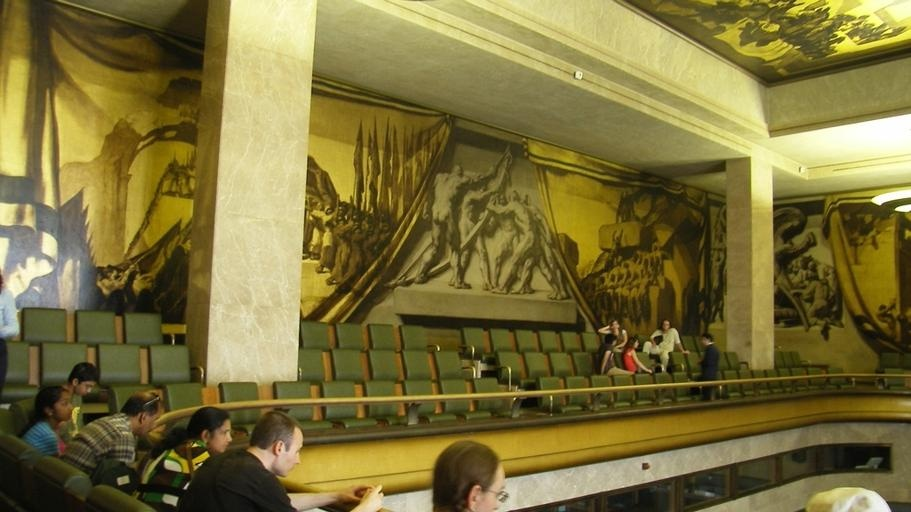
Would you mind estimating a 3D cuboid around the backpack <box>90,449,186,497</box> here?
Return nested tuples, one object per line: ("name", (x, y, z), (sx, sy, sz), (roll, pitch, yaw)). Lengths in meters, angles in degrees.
("backpack", (-3.520, 2.503, 7.205), (0.658, 0.211, 0.594), (13, -11, -5))

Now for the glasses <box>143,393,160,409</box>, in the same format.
("glasses", (-3.676, 1.768, 7.799), (0.152, 0.039, 0.142), (-23, 3, -3))

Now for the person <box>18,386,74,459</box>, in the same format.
("person", (-5.046, 2.059, 8.000), (0.641, 0.765, 0.830), (-5, -7, -13))
